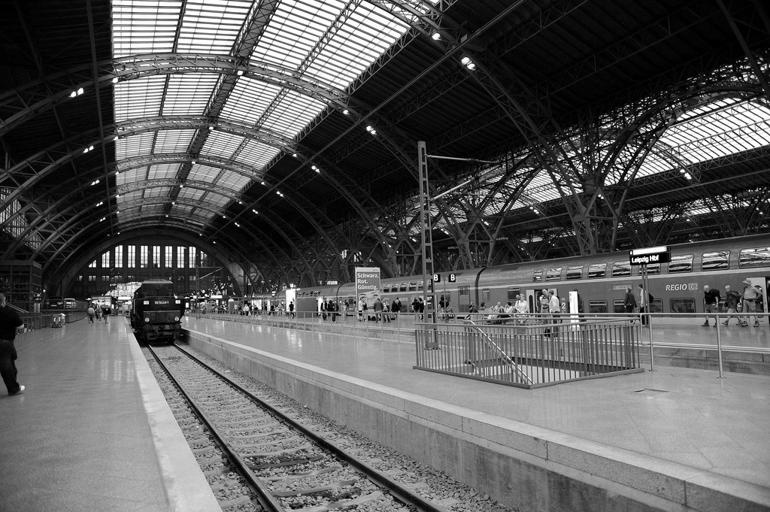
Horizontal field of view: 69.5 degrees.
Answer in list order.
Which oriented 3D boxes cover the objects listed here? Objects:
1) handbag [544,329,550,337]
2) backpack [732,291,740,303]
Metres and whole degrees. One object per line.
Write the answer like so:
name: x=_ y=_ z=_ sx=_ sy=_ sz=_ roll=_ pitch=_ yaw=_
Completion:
handbag: x=4.388 y=2.080 z=15.093 sx=0.165 sy=0.261 sz=0.111 roll=-1 pitch=7 yaw=7
backpack: x=15.966 y=1.890 z=25.326 sx=0.635 sy=0.601 sz=0.226 roll=-7 pitch=8 yaw=-36
